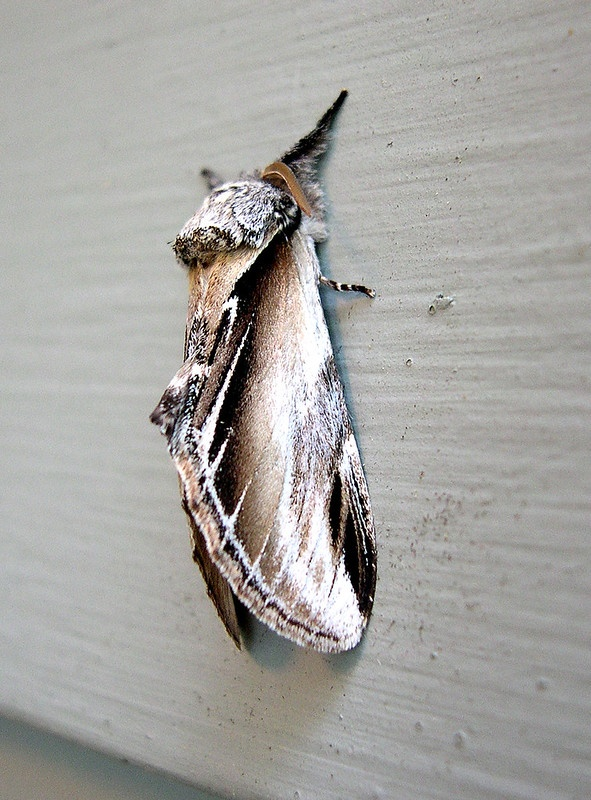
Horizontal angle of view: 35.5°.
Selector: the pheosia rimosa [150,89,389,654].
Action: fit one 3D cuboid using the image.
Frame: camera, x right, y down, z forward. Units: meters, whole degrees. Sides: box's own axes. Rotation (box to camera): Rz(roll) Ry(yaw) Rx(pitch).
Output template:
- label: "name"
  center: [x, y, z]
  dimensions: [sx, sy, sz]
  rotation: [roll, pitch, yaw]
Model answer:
- label: "pheosia rimosa"
  center: [0.002, -0.024, 1.098]
  dimensions: [0.339, 0.138, 0.618]
  rotation: [-8, 79, 49]
